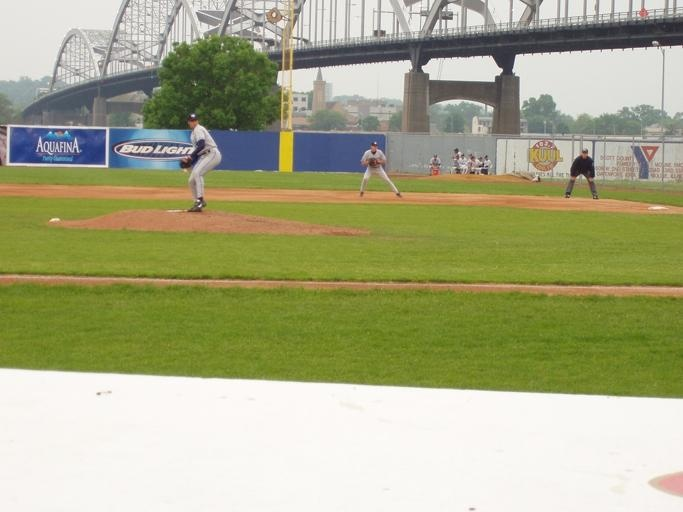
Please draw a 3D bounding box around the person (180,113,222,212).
[{"bbox_3d":[-2.202,-1.435,17.920,0.572,1.494,1.292,2,4,-6],"label":"person"}]

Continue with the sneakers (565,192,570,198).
[{"bbox_3d":[5.495,-1.474,28.253,0.070,0.092,0.204,0,2,3],"label":"sneakers"}]

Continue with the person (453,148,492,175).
[{"bbox_3d":[5.291,-3.774,47.424,1.454,0.874,1.181,3,4,5],"label":"person"}]

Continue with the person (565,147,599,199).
[{"bbox_3d":[5.768,-2.000,27.825,0.696,1.280,0.635,5,21,14],"label":"person"}]

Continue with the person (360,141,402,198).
[{"bbox_3d":[0.802,-1.893,25.527,0.908,1.304,0.603,-1,18,4],"label":"person"}]

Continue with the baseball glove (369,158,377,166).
[{"bbox_3d":[0.670,-2.065,25.387,0.155,0.146,0.126,14,39,6],"label":"baseball glove"}]

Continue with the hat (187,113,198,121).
[{"bbox_3d":[-2.255,-2.103,17.328,0.102,0.164,0.153,0,3,-8],"label":"hat"}]
